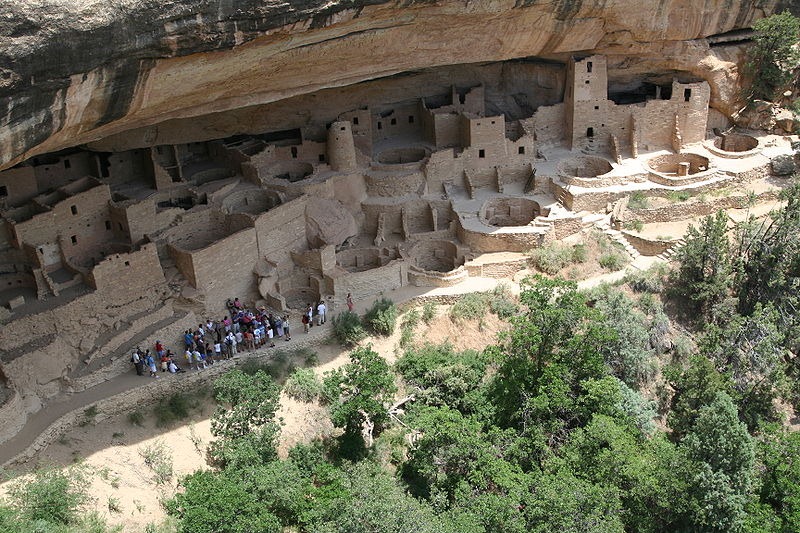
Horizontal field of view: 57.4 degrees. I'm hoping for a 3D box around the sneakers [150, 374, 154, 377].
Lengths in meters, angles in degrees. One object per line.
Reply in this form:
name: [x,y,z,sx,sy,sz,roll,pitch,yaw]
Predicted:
sneakers: [-8.853,3.853,26.124,0.078,0.114,0.120,-17,55,-24]
